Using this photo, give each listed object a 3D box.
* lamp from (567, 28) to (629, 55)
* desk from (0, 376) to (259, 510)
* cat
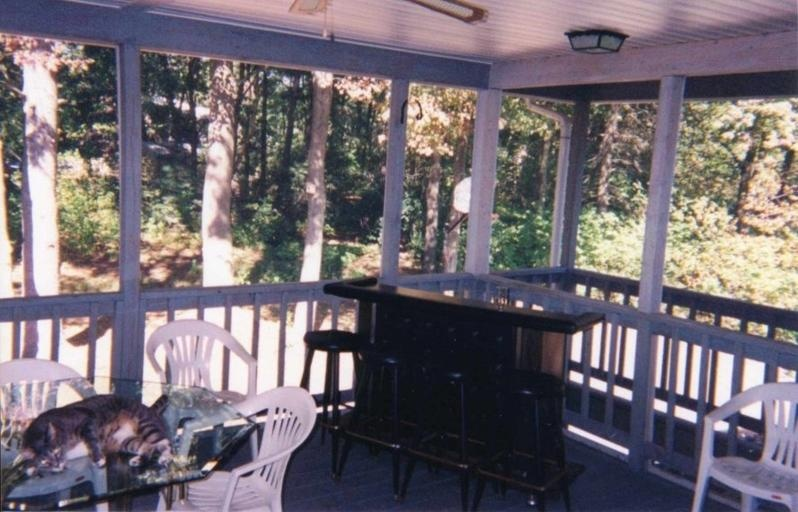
[{"bbox_3d":[1.914,-2.096,7.309,0.582,0.185,0.187,3,4,11],"label":"lamp"},{"bbox_3d":[-2.061,1.465,5.757,1.723,0.722,0.842,0,4,-31],"label":"desk"},{"bbox_3d":[-2.233,1.431,5.793,1.196,0.535,0.458,6,27,-48],"label":"cat"}]
